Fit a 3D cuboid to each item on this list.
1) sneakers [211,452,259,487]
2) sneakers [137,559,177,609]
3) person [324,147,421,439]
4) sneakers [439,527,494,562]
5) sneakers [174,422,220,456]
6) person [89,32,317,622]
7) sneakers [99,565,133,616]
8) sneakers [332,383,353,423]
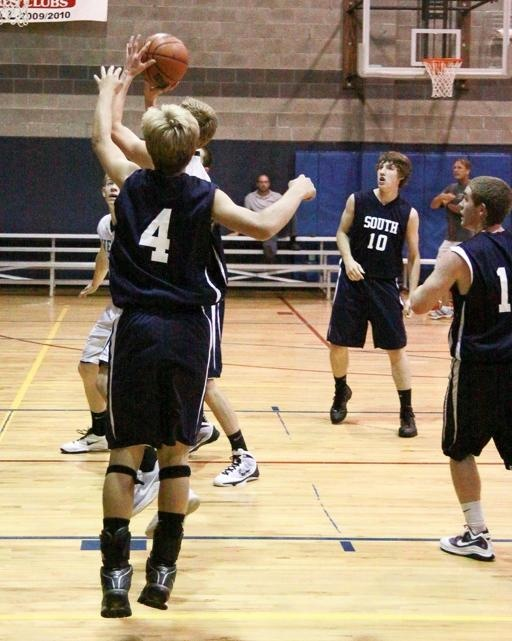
[{"bbox_3d":[-0.134,0.710,3.746,0.272,0.162,0.100,5,-9,-43],"label":"sneakers"},{"bbox_3d":[-0.280,0.739,2.177,0.062,0.080,0.180,10,-13,-2],"label":"sneakers"},{"bbox_3d":[0.721,-0.168,4.681,0.555,1.650,0.564,3,10,7],"label":"person"},{"bbox_3d":[0.805,0.842,2.956,0.227,0.107,0.085,4,-12,34],"label":"sneakers"},{"bbox_3d":[-0.298,0.583,3.972,0.148,0.170,0.435,25,-9,1],"label":"sneakers"},{"bbox_3d":[-0.220,0.152,2.389,0.545,1.577,0.696,0,10,-12],"label":"person"},{"bbox_3d":[-0.387,0.747,2.155,0.062,0.069,0.167,-1,2,-6],"label":"sneakers"},{"bbox_3d":[0.526,0.509,4.914,0.096,0.119,0.286,0,35,17],"label":"sneakers"}]
